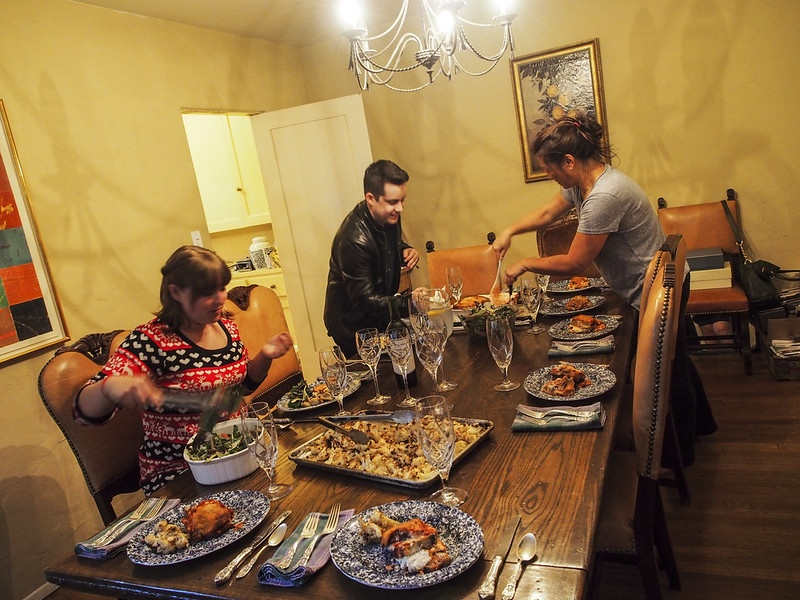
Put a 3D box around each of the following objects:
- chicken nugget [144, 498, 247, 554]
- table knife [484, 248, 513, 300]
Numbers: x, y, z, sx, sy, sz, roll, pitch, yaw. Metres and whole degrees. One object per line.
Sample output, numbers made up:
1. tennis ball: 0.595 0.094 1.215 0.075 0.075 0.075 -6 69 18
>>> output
1. chicken nugget: -0.558 0.618 1.505 0.142 0.063 0.190 5 8 40
2. table knife: 0.547 -0.122 3.022 0.089 0.093 0.626 8 27 5
